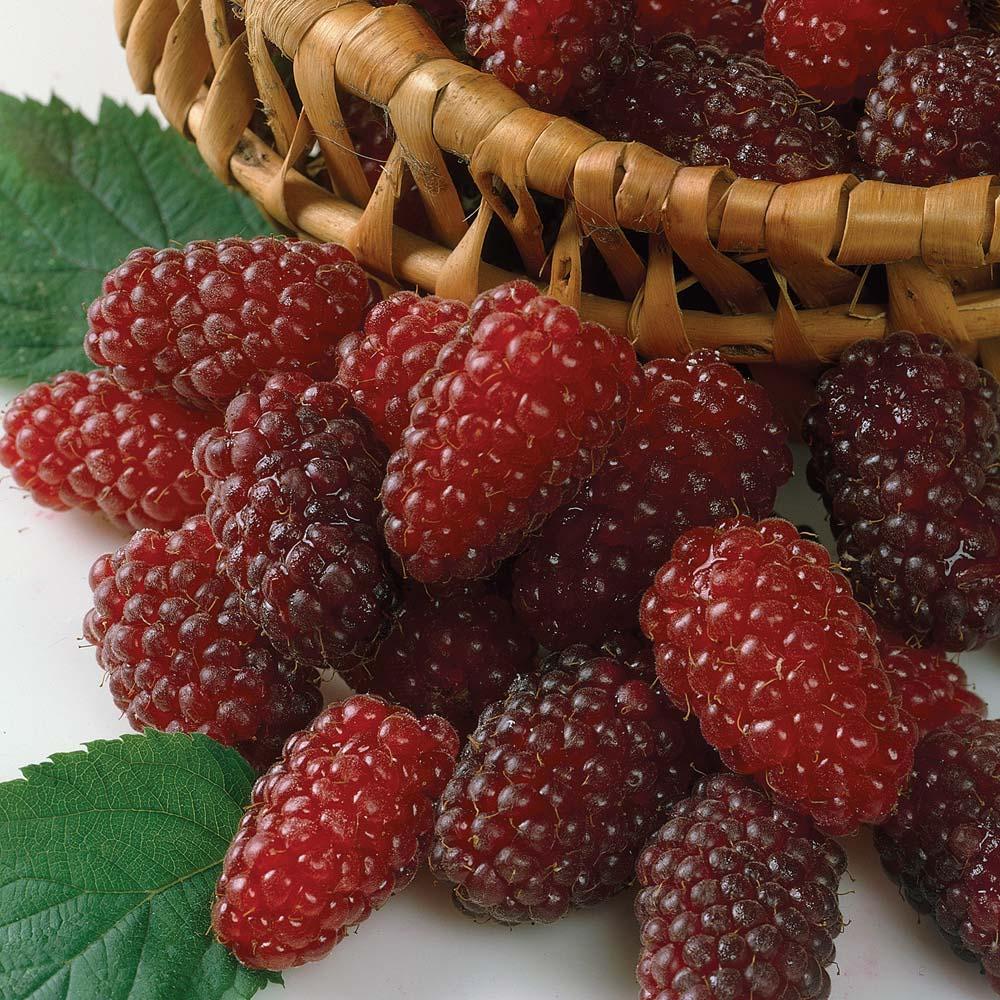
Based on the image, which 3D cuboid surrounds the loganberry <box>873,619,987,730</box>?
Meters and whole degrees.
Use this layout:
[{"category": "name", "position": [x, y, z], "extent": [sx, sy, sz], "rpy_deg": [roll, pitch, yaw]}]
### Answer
[{"category": "loganberry", "position": [0.257, 0.104, 0.768], "extent": [0.050, 0.073, 0.028], "rpy_deg": [26, 102, 1]}]
